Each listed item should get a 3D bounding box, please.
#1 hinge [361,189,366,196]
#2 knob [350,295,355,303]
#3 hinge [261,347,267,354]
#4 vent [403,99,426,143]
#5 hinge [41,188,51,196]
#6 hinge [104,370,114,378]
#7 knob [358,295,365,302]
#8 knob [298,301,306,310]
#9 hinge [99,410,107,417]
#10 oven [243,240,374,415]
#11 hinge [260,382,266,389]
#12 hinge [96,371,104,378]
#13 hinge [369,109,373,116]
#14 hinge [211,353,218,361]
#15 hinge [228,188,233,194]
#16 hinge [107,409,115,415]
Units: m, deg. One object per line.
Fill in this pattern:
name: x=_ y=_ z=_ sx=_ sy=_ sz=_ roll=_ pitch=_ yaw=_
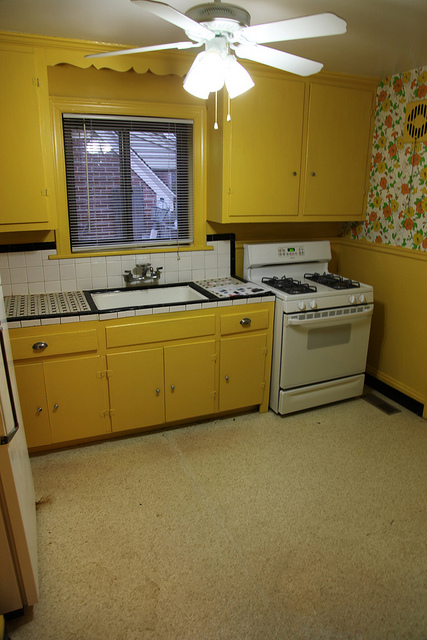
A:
hinge: x=1.142 y=-0.938 z=3.398 sx=0.039 sy=0.046 sz=0.008 roll=-10 pitch=16 yaw=-38
knob: x=0.940 y=-0.121 z=2.998 sx=0.027 sy=0.040 sz=0.009 roll=-5 pitch=12 yaw=-43
hinge: x=0.335 y=0.215 z=2.959 sx=0.033 sy=0.054 sz=0.038 roll=2 pitch=10 yaw=7
vent: x=1.353 y=-1.298 z=2.978 sx=0.031 sy=0.285 sz=0.249 roll=-20 pitch=31 yaw=-19
hinge: x=-0.915 y=-0.671 z=2.427 sx=0.052 sy=0.039 sz=0.030 roll=-3 pitch=22 yaw=-18
hinge: x=-0.603 y=0.312 z=2.538 sx=0.041 sy=0.032 sz=0.006 roll=-4 pitch=17 yaw=-22
knob: x=1.014 y=-0.128 z=3.043 sx=0.029 sy=0.042 sz=0.010 roll=18 pitch=3 yaw=0
knob: x=0.563 y=-0.077 z=2.811 sx=0.036 sy=0.050 sz=0.017 roll=5 pitch=-4 yaw=-26
hinge: x=-0.646 y=0.550 z=2.598 sx=0.049 sy=0.051 sz=0.029 roll=-4 pitch=23 yaw=-16
oven: x=0.718 y=0.078 z=3.133 sx=0.882 sy=1.283 sz=0.699 roll=-4 pitch=16 yaw=-26
hinge: x=0.335 y=0.453 z=3.032 sx=0.042 sy=0.047 sz=0.035 roll=-2 pitch=18 yaw=-10
hinge: x=-0.644 y=0.315 z=2.519 sx=0.049 sy=0.054 sz=0.028 roll=-2 pitch=20 yaw=-14
hinge: x=1.153 y=-1.474 z=3.254 sx=0.036 sy=0.041 sz=0.004 roll=-9 pitch=15 yaw=-34
hinge: x=0.004 y=0.247 z=2.810 sx=0.051 sy=0.052 sz=0.031 roll=-2 pitch=17 yaw=-11
hinge: x=0.111 y=-0.809 z=2.886 sx=0.027 sy=0.055 sz=0.028 roll=14 pitch=22 yaw=32
hinge: x=-0.606 y=0.543 z=2.612 sx=0.045 sy=0.034 sz=0.026 roll=-1 pitch=19 yaw=-13
